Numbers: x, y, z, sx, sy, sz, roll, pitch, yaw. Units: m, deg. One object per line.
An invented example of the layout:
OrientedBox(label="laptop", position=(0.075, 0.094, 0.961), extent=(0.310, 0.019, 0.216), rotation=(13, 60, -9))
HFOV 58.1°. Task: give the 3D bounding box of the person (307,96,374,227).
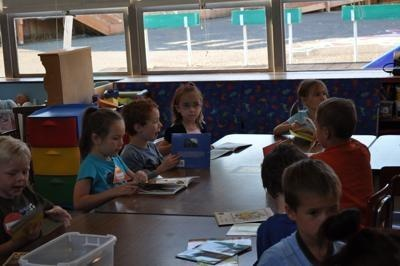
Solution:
OrientedBox(label="person", position=(0.864, 0.209, 2.280), extent=(0.455, 0.838, 0.429), rotation=(4, 19, 25))

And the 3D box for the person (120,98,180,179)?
OrientedBox(label="person", position=(-0.434, 0.017, 3.039), extent=(0.642, 0.686, 0.569), rotation=(-1, 12, 6))
